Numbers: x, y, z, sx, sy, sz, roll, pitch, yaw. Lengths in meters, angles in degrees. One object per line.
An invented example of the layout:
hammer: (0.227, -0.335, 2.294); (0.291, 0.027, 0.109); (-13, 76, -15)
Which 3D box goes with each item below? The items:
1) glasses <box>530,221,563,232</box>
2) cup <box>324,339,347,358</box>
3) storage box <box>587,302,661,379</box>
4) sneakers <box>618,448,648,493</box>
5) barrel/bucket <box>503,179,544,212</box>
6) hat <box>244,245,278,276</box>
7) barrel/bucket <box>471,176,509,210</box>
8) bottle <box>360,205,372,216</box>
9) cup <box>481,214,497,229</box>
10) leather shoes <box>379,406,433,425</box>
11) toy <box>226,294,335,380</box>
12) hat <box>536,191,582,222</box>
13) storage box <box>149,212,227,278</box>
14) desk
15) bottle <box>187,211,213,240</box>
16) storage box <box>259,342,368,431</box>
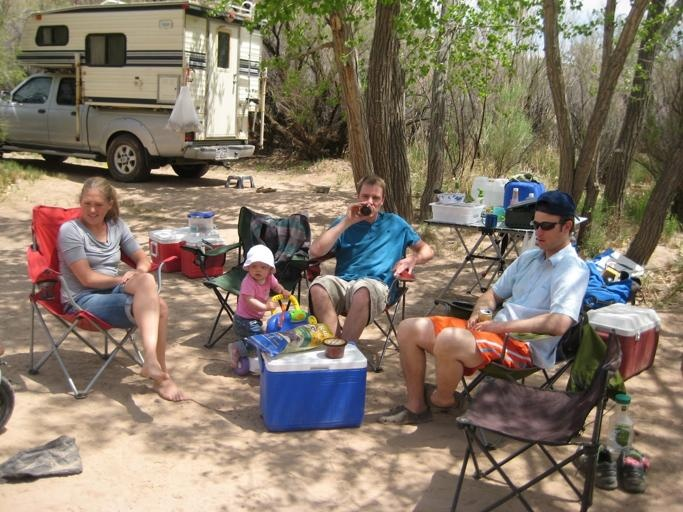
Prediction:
glasses: (1.268, -0.197, 4.033); (0.095, 0.064, 0.191); (0, 10, -27)
cup: (-0.030, 0.577, 4.133); (0.114, 0.070, 0.117); (2, 15, 0)
storage box: (1.846, 0.491, 4.075); (0.440, 0.450, 0.676); (9, 12, 37)
sneakers: (1.707, 1.247, 3.723); (0.104, 0.132, 0.307); (0, 6, 7)
barrel/bucket: (1.847, -0.615, 6.451); (0.342, 0.288, 0.340); (0, 5, 0)
hat: (-0.594, 0.014, 4.713); (0.214, 0.178, 0.207); (3, 10, -10)
barrel/bucket: (1.630, -0.687, 6.996); (0.466, 0.417, 0.339); (7, 9, 44)
bottle: (0.193, -0.346, 4.894); (0.083, 0.081, 0.083); (18, 19, 0)
cup: (1.420, -0.335, 6.086); (0.157, 0.148, 0.099); (3, 4, 13)
leather shoes: (0.427, 1.046, 4.188); (0.339, 0.109, 0.131); (1, -5, -6)
toy: (-0.431, 0.567, 4.475); (0.699, 0.593, 0.540); (-8, 9, 8)
hat: (1.377, -0.324, 4.009); (0.238, 0.136, 0.160); (21, 6, -34)
storage box: (-1.664, -0.128, 6.889); (0.836, 0.714, 0.797); (-4, 19, -29)
desk: (1.357, 0.090, 5.456); (0.569, 0.648, 0.951); (21, 24, 35)
bottle: (-1.497, -0.330, 7.022); (0.312, 0.292, 0.302); (-1, 9, -26)
storage box: (-0.163, 0.862, 4.058); (0.833, 0.549, 0.448); (-1, 10, -9)
